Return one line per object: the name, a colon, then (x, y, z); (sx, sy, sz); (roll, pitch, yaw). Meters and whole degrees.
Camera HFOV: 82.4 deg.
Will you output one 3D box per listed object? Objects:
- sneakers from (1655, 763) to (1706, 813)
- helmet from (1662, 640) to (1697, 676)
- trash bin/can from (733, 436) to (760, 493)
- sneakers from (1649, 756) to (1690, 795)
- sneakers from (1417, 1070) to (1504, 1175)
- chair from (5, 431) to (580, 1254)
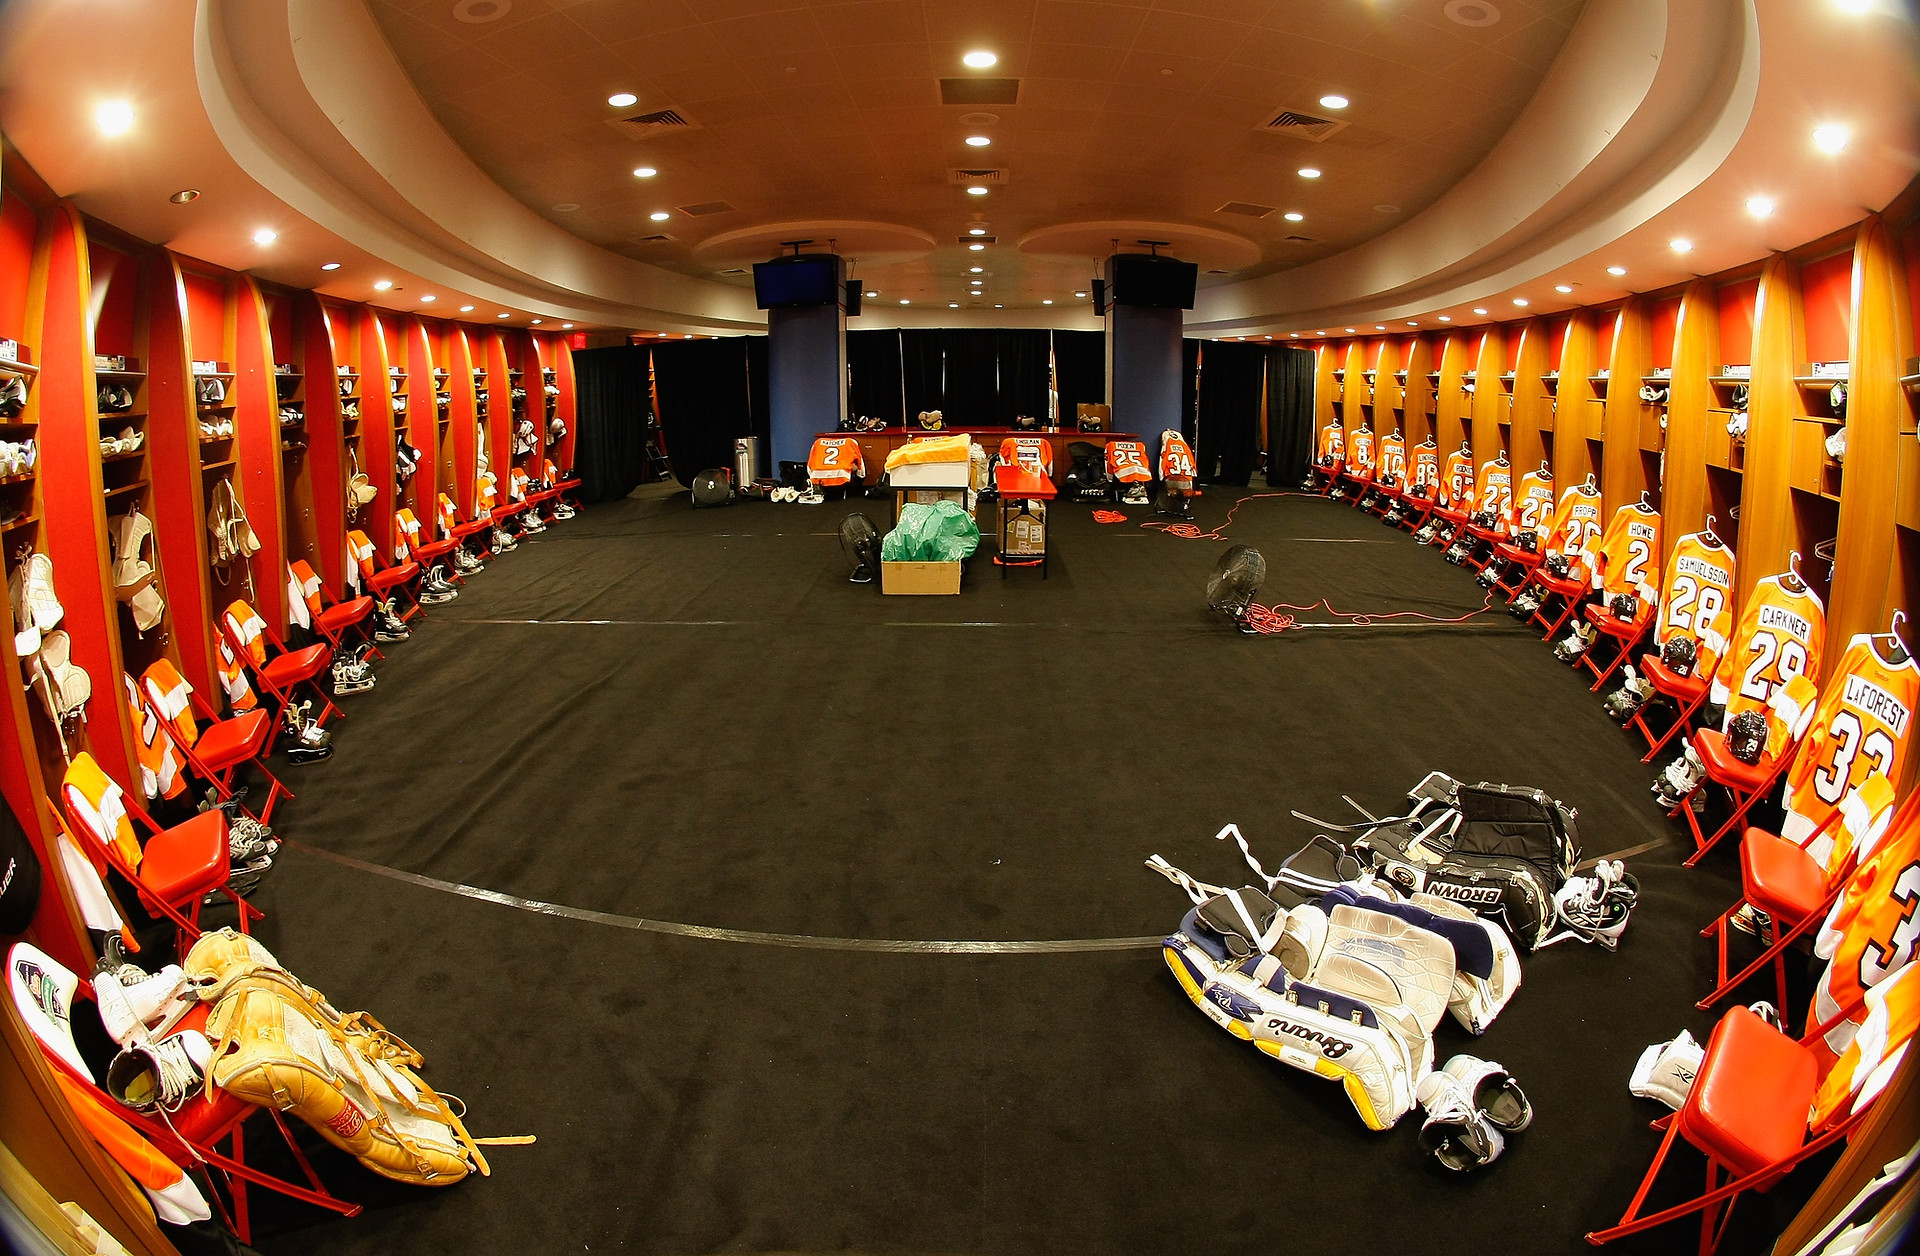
sneakers: (4.089, 0.894, 6.281); (0.096, 0.258, 0.190); (10, 39, -37)
helmet: (4.546, 0.158, 6.992); (0.178, 0.190, 0.222); (9, 30, 13)
trash bin/can: (-3.387, -2.540, 17.059); (0.294, 0.823, 0.361); (-3, 13, -18)
sneakers: (4.104, 0.853, 6.349); (0.146, 0.214, 0.232); (7, 1, 3)
sneakers: (1.925, 1.927, 4.297); (0.225, 0.349, 0.148); (-27, -29, 2)
chair: (-2.844, 1.540, 5.050); (1.915, 2.445, 1.453); (1, 17, -2)
